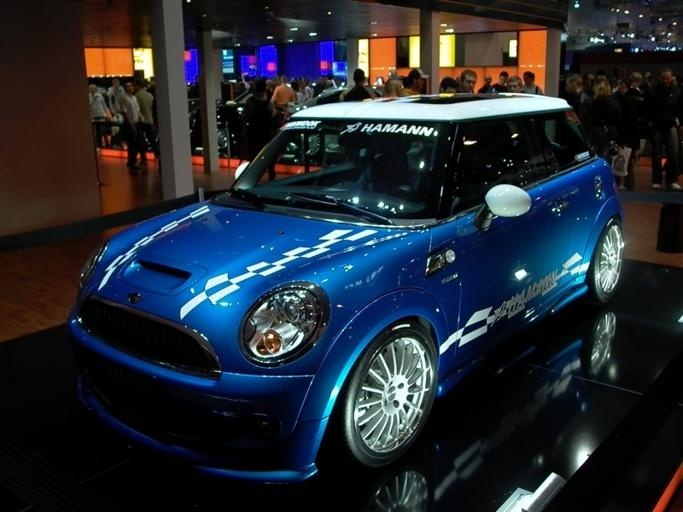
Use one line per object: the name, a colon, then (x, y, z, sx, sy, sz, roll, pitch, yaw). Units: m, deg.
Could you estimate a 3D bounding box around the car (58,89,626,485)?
car: (0.352, 0.028, 2.937, 1.889, 1.325, 3.187, 12, 20, 41)
